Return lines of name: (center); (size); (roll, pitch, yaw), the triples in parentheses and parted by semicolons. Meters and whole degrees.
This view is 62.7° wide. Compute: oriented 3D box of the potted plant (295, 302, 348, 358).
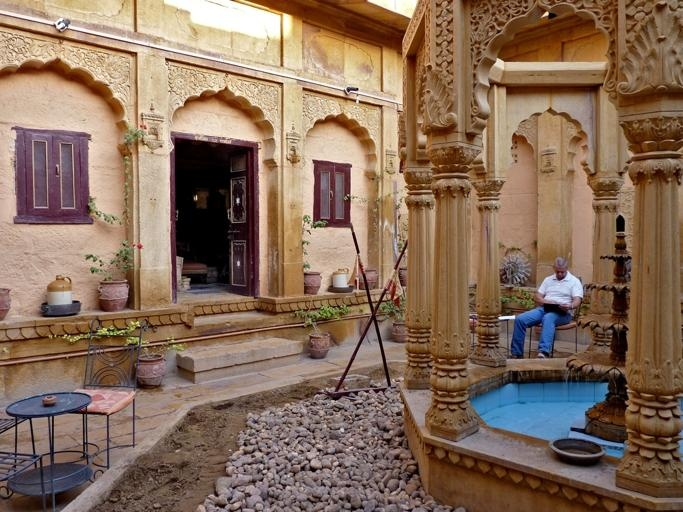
potted plant: (-0.390, 1.277, 9.662); (0.859, 0.865, 0.419); (1, 4, -5)

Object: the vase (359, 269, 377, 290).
vase: (0.519, 0.457, 10.903); (0.296, 0.393, 0.526); (1, 5, 28)

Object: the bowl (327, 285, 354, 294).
bowl: (0.013, 0.619, 10.469); (0.538, 0.110, 0.282); (-4, 5, -21)

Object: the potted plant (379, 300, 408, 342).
potted plant: (0.950, 1.210, 10.578); (0.468, 0.811, 0.576); (-2, 5, 3)

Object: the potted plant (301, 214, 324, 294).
potted plant: (-0.509, -0.026, 10.096); (0.361, 1.405, 0.682); (-1, 5, 8)

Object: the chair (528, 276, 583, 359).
chair: (3.188, 0.880, 8.208); (0.615, 1.222, 0.876); (0, 5, 20)

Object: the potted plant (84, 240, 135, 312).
potted plant: (-3.317, 0.291, 7.957); (0.974, 1.151, 0.592); (-2, 1, -23)
